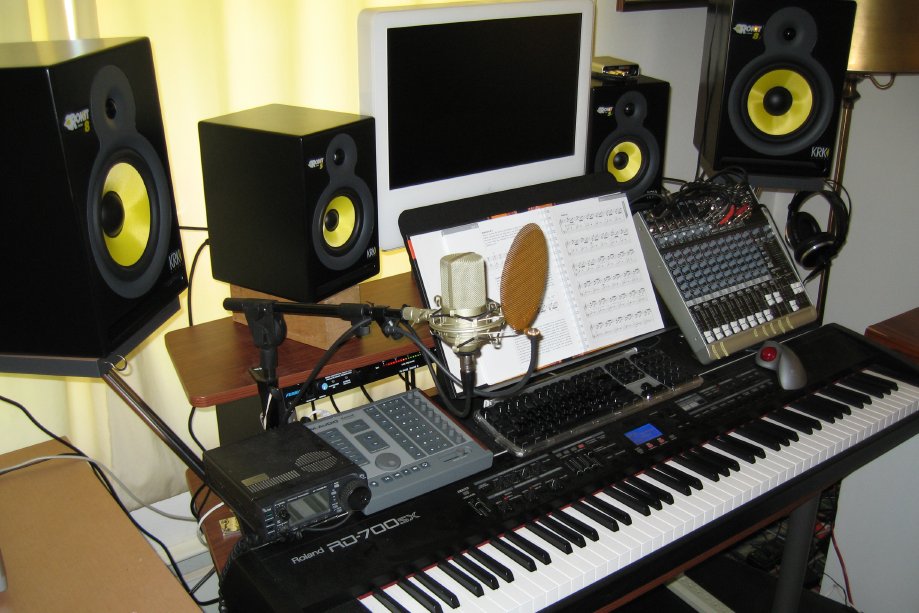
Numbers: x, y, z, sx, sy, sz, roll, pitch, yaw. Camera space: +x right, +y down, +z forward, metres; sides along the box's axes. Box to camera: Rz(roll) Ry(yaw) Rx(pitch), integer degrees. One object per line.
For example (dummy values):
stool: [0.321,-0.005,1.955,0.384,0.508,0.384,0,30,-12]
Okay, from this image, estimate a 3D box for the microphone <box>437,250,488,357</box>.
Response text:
microphone: [0.008,-0.008,1.314,0.086,0.180,0.058,-5,24,-2]

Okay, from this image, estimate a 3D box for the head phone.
head phone: [1.256,-0.298,2.496,0.102,0.287,0.231,-18,50,-15]

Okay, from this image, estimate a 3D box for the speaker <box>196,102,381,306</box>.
speaker: [-0.413,-0.348,2.039,0.520,0.587,0.410,13,25,24]
